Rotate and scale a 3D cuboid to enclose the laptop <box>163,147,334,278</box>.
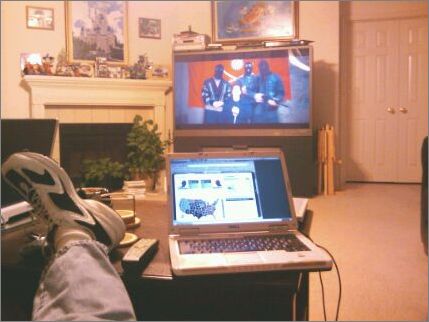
[{"bbox_3d":[0.079,0.178,1.226,0.439,0.294,0.407,-3,16,-10],"label":"laptop"}]

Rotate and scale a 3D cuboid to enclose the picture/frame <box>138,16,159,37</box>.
[{"bbox_3d":[-0.860,-1.719,4.679,0.277,0.211,0.039,-1,-2,-23],"label":"picture/frame"}]

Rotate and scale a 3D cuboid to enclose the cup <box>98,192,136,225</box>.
[{"bbox_3d":[-0.430,0.204,1.654,0.168,0.056,0.128,7,11,-4],"label":"cup"}]

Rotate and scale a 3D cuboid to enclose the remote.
[{"bbox_3d":[-0.215,0.249,1.079,0.059,0.045,0.192,16,12,3],"label":"remote"}]
